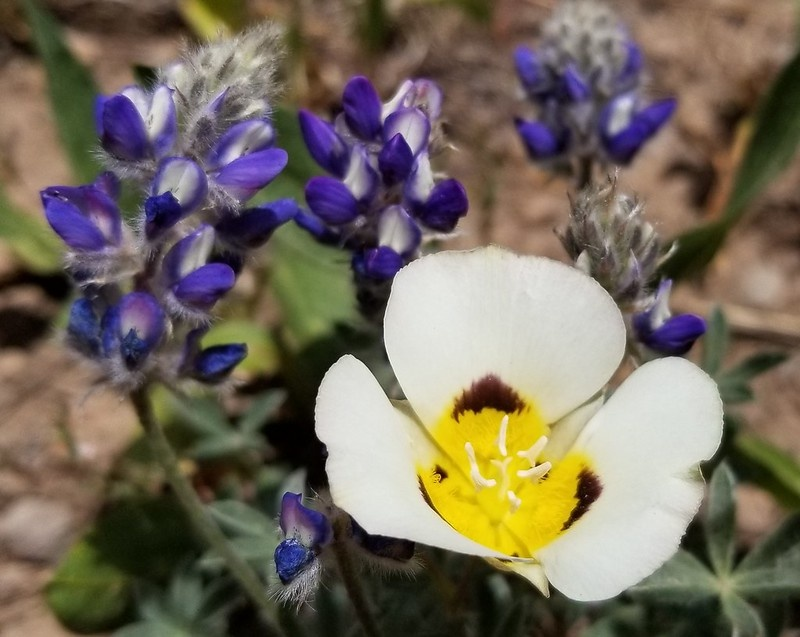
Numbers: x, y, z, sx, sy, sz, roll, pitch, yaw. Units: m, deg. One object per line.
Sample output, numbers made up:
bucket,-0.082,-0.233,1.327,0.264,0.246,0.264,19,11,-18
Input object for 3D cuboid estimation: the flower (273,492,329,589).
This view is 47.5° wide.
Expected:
flower,-0.199,0.432,1.783,0.109,0.061,0.179,7,102,5
